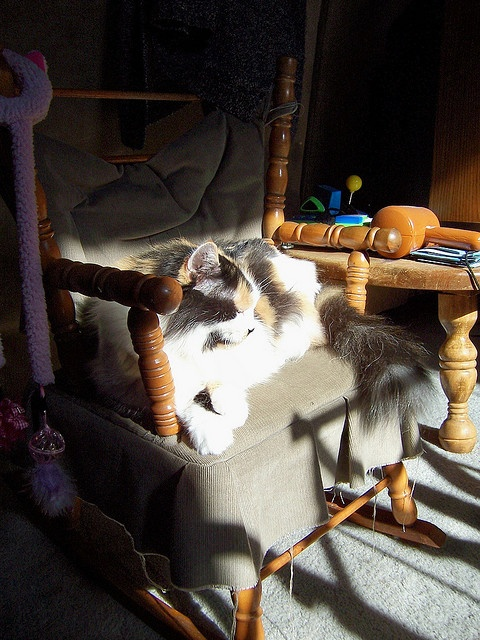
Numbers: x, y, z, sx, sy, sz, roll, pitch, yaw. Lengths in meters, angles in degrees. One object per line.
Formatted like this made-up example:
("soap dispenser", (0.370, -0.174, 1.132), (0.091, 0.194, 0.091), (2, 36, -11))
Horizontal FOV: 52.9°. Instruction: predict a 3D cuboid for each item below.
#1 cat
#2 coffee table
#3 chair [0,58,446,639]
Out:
("cat", (0.033, 0.107, 0.756), (0.421, 0.182, 0.317), (23, 43, 12))
("coffee table", (0.344, 0.076, 1.097), (0.426, 0.340, 0.404), (12, 24, 29))
("chair", (0.001, 0.023, 0.931), (0.619, 0.691, 0.729), (9, 20, 37))
